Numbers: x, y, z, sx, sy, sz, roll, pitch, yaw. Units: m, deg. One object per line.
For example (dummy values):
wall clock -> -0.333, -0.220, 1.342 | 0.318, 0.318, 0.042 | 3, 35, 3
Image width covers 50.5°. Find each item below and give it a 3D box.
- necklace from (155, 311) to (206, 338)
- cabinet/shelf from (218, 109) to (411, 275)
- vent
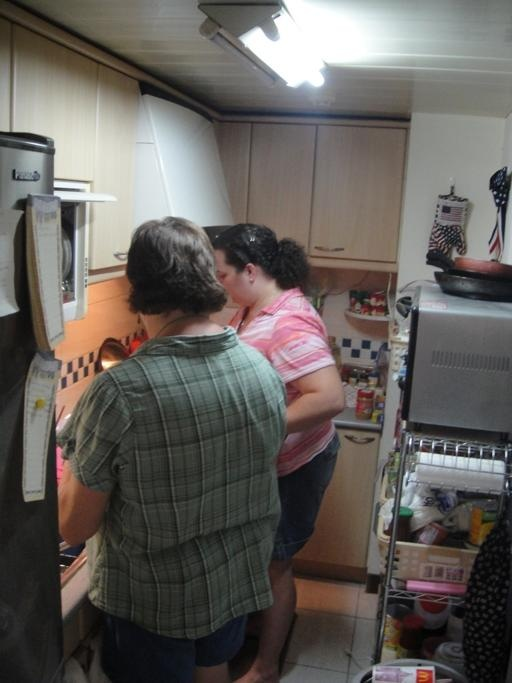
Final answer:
necklace -> -0.152, -0.033, 1.046 | 0.067, 0.063, 0.063 | 2, 1, 7
cabinet/shelf -> 0.318, -0.746, 2.625 | 0.994, 0.770, 0.374 | 3, 11, 11
vent -> -0.302, -0.766, 2.322 | 0.191, 0.467, 0.750 | 6, 19, 13
